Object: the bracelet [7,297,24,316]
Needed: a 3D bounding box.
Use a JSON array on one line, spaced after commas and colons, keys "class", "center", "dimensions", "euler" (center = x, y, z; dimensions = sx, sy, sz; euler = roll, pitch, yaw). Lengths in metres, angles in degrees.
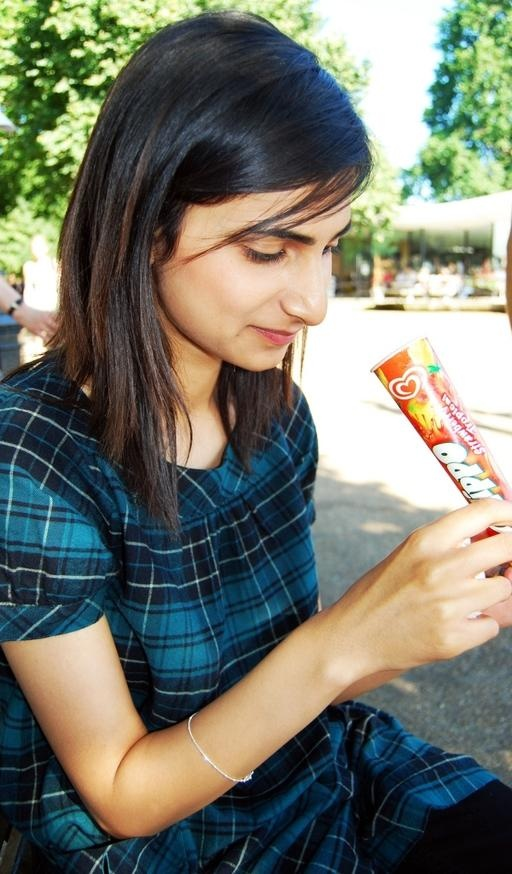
[{"class": "bracelet", "center": [-1.501, -0.811, 4.279], "dimensions": [0.030, 0.116, 0.107], "euler": [37, -16, -12]}]
